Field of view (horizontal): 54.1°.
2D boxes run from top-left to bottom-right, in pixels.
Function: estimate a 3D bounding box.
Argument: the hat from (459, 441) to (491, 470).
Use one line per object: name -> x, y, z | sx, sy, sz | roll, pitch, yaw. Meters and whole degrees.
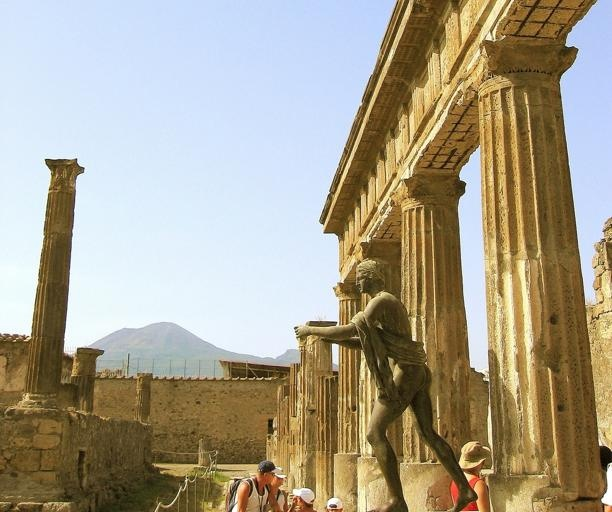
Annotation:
hat -> 1.658, 1.953, 5.779 | 0.251, 0.108, 0.288 | -14, 21, 41
